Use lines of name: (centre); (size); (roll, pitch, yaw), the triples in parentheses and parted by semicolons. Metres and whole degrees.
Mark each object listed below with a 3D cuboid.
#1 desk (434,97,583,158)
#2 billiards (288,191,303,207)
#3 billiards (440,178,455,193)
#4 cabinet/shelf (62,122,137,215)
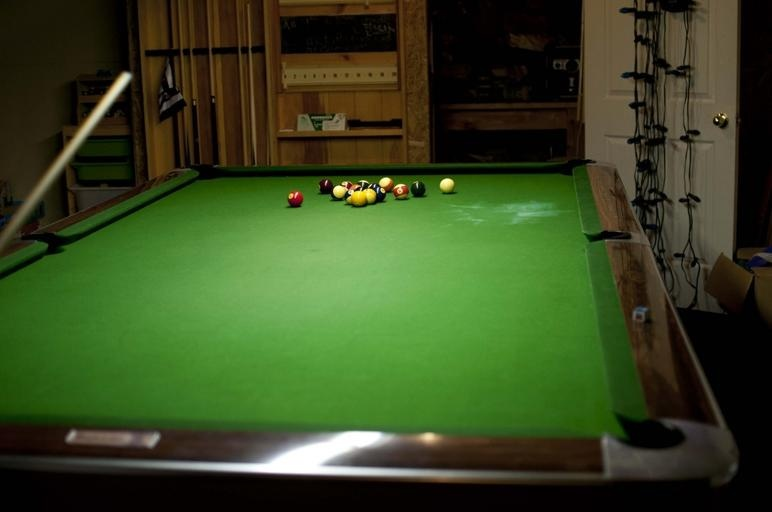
desk: (1.336, -1.412, 7.087); (1.570, 0.681, 1.253); (1, 12, 7)
billiards: (-0.405, -0.264, 2.860); (0.068, 0.073, 0.069); (-4, 10, -39)
billiards: (0.292, -0.352, 3.036); (0.071, 0.074, 0.070); (-9, 19, -31)
cabinet/shelf: (-2.260, -0.720, 4.932); (0.431, 0.934, 0.556); (9, 22, 19)
